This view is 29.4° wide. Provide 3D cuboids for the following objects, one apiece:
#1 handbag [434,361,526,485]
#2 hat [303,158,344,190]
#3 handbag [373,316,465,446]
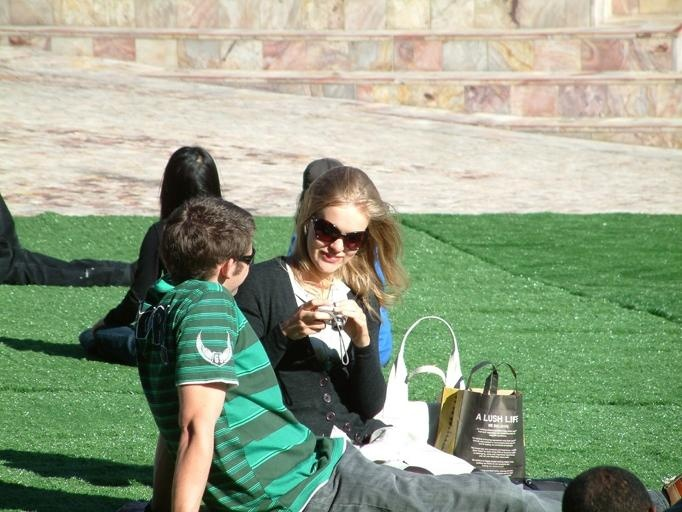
[{"bbox_3d":[1.084,1.354,10.191,0.869,1.048,0.419,5,-10,2],"label":"handbag"},{"bbox_3d":[-0.159,-0.746,11.632,0.298,0.338,0.397,0,-2,-24],"label":"hat"},{"bbox_3d":[0.646,1.078,10.784,0.894,1.180,0.418,9,1,-6],"label":"handbag"}]
